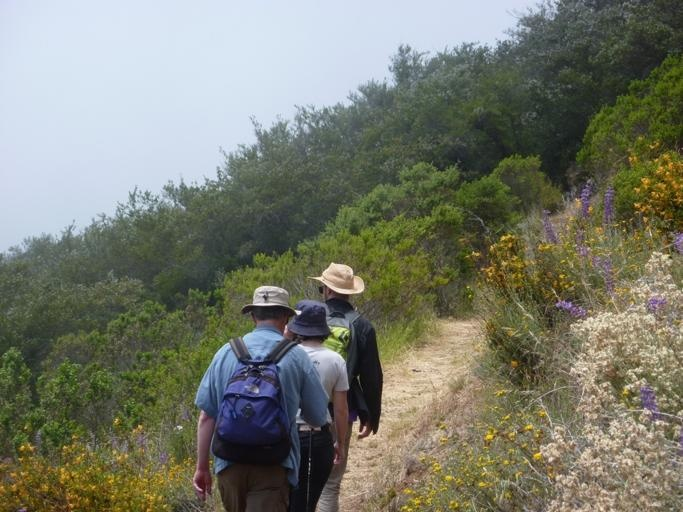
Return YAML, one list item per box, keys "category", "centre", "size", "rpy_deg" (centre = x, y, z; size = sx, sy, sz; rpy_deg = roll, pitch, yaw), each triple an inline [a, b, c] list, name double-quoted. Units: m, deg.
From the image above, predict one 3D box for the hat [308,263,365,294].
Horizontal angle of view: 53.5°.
- category: "hat"
  centre: [-0.037, 0.310, 9.890]
  size: [0.721, 0.414, 0.868]
  rpy_deg: [0, 8, -36]

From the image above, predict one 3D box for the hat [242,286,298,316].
- category: "hat"
  centre: [-1.058, 0.698, 10.548]
  size: [0.603, 0.381, 0.905]
  rpy_deg: [0, -11, 1]

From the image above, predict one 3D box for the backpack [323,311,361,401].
- category: "backpack"
  centre: [-0.015, 1.205, 9.694]
  size: [0.369, 0.830, 0.718]
  rpy_deg: [2, -13, 20]
